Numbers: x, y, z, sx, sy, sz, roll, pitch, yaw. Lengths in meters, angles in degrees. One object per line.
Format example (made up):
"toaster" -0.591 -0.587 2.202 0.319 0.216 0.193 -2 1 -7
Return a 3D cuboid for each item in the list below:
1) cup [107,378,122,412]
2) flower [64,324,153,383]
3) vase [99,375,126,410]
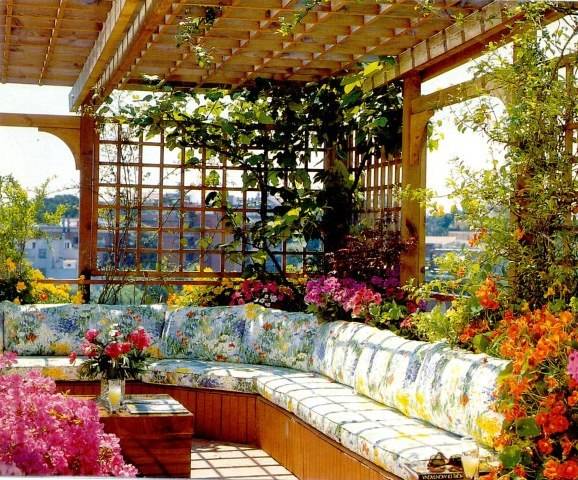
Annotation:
"cup" -1.083 0.952 5.204 0.117 0.186 0.113 1 -6 0
"flower" -1.131 0.775 5.338 0.501 0.377 0.503 -5 -14 20
"vase" -1.102 0.956 5.208 0.174 0.275 0.168 -1 -11 2
